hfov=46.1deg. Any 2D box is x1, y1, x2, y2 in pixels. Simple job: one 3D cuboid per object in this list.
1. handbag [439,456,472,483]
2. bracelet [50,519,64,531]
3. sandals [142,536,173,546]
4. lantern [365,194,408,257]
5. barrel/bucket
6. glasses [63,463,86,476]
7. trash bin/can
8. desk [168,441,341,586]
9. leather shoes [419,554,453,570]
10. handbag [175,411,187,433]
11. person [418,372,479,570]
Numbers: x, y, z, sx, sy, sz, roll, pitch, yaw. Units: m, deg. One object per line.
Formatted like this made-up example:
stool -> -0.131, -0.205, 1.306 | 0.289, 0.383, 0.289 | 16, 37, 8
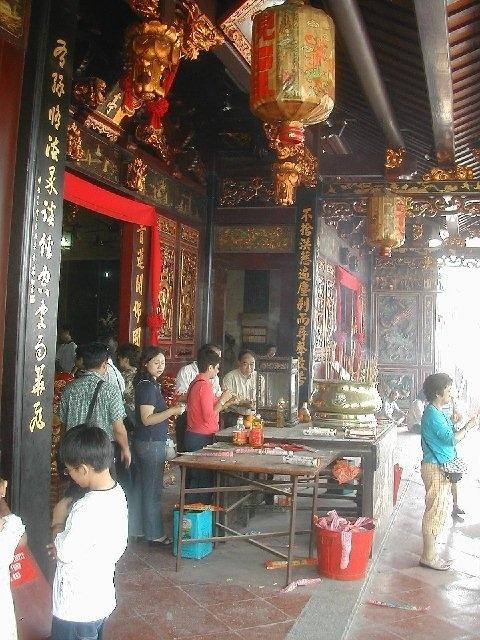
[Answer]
handbag -> 1.325, 0.934, 3.453 | 0.137, 0.163, 0.109 | -4, 10, 30
bracelet -> -0.548, 0.613, 1.685 | 0.030, 0.034, 0.028 | -1, -12, -4
sandals -> -0.523, 1.411, 3.653 | 0.167, 0.051, 0.068 | 4, -1, -20
lantern -> 1.498, -0.999, 5.727 | 0.355, 0.707, 0.439 | 0, -5, 24
barrel/bucket -> 0.589, 1.255, 3.164 | 0.285, 0.282, 0.317 | 5, -11, -16
glasses -> -0.474, 0.429, 1.621 | 0.059, 0.021, 0.065 | 2, -14, 17
trash bin/can -> 0.614, 1.244, 3.173 | 0.298, 0.280, 0.326 | 6, -13, -18
desk -> 0.116, 1.127, 3.371 | 0.800, 0.614, 0.825 | -4, -7, 27
leather shoes -> 1.209, 1.487, 3.464 | 0.189, 0.098, 0.071 | -4, -3, 11
handbag -> -0.459, 0.815, 4.520 | 0.097, 0.203, 0.109 | -1, -3, -2
person -> 1.321, 0.936, 3.564 | 0.313, 1.196, 0.504 | 0, -5, 19
